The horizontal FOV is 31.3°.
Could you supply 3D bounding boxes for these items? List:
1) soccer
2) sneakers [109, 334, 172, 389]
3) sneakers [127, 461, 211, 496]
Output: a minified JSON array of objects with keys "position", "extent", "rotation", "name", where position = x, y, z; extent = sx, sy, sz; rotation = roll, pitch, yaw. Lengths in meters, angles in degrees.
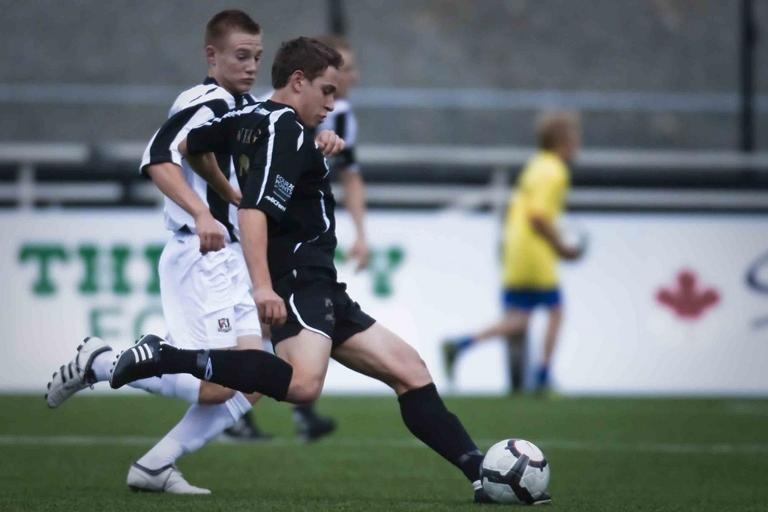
[{"position":[0.858,1.406,9.137],"extent":[0.339,0.386,0.440],"rotation":[5,0,-6],"name":"soccer"},{"position":[-1.602,0.678,8.921],"extent":[0.517,0.180,0.221],"rotation":[-35,6,1],"name":"sneakers"},{"position":[-1.414,1.495,9.322],"extent":[0.630,0.245,0.217],"rotation":[5,-7,-3],"name":"sneakers"}]
